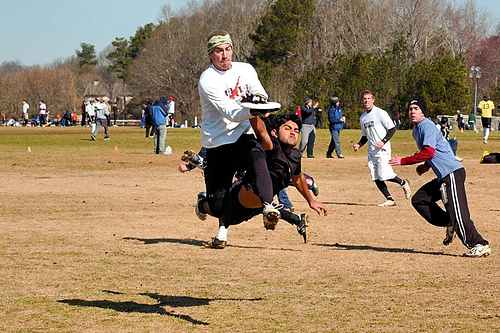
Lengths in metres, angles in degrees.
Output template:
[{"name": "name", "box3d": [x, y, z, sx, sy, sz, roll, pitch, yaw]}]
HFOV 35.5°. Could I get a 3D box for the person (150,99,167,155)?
[{"name": "person", "box3d": [-3.322, -1.410, 28.417, 0.571, 1.946, 1.549, -1, 13, -7]}]
